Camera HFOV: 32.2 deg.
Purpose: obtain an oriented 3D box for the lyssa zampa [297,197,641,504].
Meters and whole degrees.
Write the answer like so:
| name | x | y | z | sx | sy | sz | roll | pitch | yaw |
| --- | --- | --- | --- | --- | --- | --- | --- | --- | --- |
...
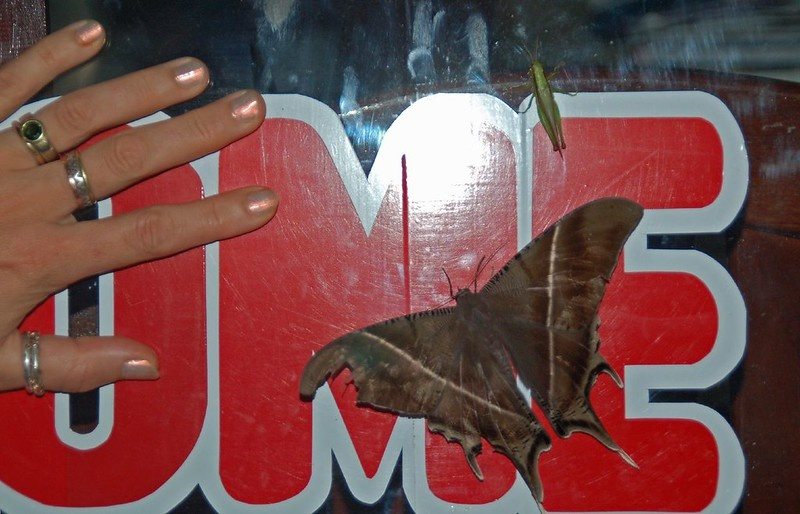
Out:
| name | x | y | z | sx | sy | sz | roll | pitch | yaw |
| --- | --- | --- | --- | --- | --- | --- | --- | --- | --- |
| lyssa zampa | 0.557 | 0.464 | 7.440 | 2.135 | 1.527 | 0.508 | -28 | -3 | -4 |

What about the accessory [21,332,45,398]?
| name | x | y | z | sx | sy | sz | roll | pitch | yaw |
| --- | --- | --- | --- | --- | --- | --- | --- | --- | --- |
| accessory | -1.973 | 0.569 | 7.427 | 0.099 | 0.324 | 0.108 | -5 | 14 | -9 |

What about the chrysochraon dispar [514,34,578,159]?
| name | x | y | z | sx | sy | sz | roll | pitch | yaw |
| --- | --- | --- | --- | --- | --- | --- | --- | --- | --- |
| chrysochraon dispar | 0.812 | -0.884 | 7.562 | 0.338 | 0.536 | 0.140 | -15 | 5 | 7 |

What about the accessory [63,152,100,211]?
| name | x | y | z | sx | sy | sz | roll | pitch | yaw |
| --- | --- | --- | --- | --- | --- | --- | --- | --- | --- |
| accessory | -1.727 | -0.417 | 7.432 | 0.161 | 0.277 | 0.145 | 4 | 3 | -40 |
